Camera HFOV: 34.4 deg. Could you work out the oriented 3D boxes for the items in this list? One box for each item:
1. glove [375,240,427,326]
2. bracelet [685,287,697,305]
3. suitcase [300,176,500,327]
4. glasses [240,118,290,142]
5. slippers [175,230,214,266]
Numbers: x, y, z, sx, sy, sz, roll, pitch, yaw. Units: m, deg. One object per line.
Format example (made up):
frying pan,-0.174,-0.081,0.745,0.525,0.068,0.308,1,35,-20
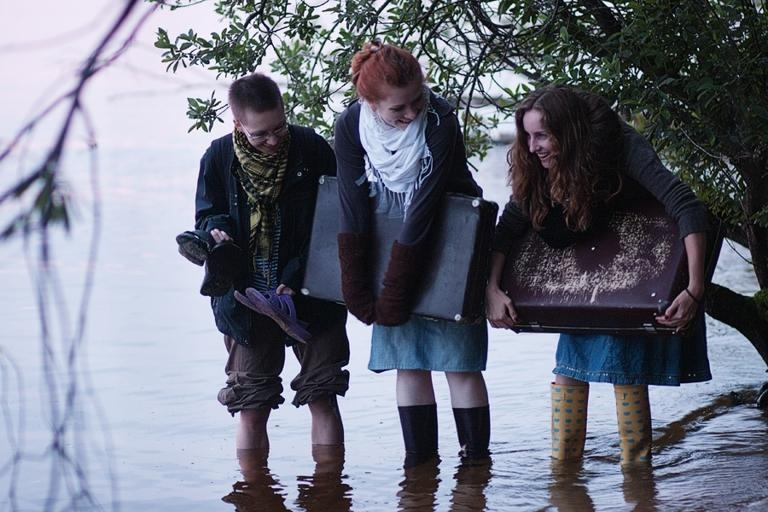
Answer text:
glove,0.084,0.138,6.317,0.271,0.425,0.139,-3,8,0
bracelet,1.501,0.196,6.047,0.076,0.040,0.017,38,-23,-16
suitcase,0.112,-0.025,6.363,0.809,0.519,0.283,10,2,20
glasses,-0.627,-0.654,6.602,0.241,0.100,0.146,-3,6,-6
slippers,-0.986,-0.046,6.585,0.166,0.181,0.072,11,34,-2
